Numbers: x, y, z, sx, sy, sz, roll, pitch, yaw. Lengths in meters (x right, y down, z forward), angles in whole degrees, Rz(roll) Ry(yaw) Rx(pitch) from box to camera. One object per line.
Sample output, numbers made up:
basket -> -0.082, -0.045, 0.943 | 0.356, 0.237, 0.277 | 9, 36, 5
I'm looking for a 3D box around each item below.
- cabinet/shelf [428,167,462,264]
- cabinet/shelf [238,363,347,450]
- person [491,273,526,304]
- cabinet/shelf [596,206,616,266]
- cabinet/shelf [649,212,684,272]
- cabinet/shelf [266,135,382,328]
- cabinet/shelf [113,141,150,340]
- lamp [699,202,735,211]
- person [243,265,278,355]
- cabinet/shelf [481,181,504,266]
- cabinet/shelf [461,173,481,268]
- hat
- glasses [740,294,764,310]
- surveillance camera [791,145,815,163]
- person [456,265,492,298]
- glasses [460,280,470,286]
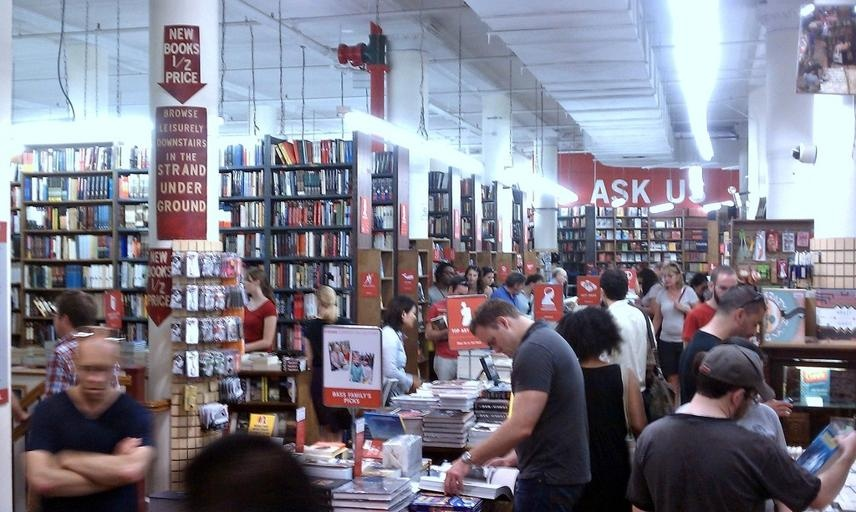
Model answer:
cabinet/shelf -> 0.283, -0.753, 16.340 | 0.687, 2.064, 0.489 | -1, -10, 15
cabinet/shelf -> -2.032, 1.847, 10.293 | 1.043, 0.958, 0.397 | 5, -20, -8
person -> 1.281, 0.519, 12.974 | 0.468, 0.520, 0.866 | -3, -3, 4
cabinet/shelf -> 6.111, -0.543, 27.677 | 0.832, 2.212, 0.318 | 2, 0, 33
cabinet/shelf -> 8.013, -0.626, 27.247 | 1.249, 1.604, 0.457 | -3, -3, 2
cabinet/shelf -> -1.859, -0.538, 13.538 | 1.550, 3.193, 1.143 | 4, 24, 3
cabinet/shelf -> -4.793, -0.236, 12.953 | 0.538, 3.133, 0.757 | -2, -3, -22
lamp -> 8.516, -1.479, 23.629 | 0.751, 0.202, 0.759 | -5, -4, 16
person -> -2.256, 0.716, 10.723 | 0.425, 1.097, 0.338 | -2, -3, -14
cabinet/shelf -> 1.374, -0.553, 19.051 | 0.731, 2.146, 0.498 | -3, 9, -6
cabinet/shelf -> 0.774, -0.791, 17.467 | 0.678, 1.995, 0.453 | -1, -15, -1
hat -> 2.503, 0.893, 6.521 | 0.701, 0.351, 0.491 | 13, 2, 10
glasses -> 3.089, 0.421, 7.605 | 0.287, 0.129, 0.099 | -1, -3, -34
surveillance camera -> 5.114, -1.394, 10.909 | 0.262, 0.277, 0.412 | -4, -3, 23
person -> 0.899, 0.436, 14.484 | 0.605, 0.792, 0.500 | 2, -10, -6
glasses -> 0.557, 0.399, 12.045 | 0.075, 0.077, 0.078 | 3, 10, 40
